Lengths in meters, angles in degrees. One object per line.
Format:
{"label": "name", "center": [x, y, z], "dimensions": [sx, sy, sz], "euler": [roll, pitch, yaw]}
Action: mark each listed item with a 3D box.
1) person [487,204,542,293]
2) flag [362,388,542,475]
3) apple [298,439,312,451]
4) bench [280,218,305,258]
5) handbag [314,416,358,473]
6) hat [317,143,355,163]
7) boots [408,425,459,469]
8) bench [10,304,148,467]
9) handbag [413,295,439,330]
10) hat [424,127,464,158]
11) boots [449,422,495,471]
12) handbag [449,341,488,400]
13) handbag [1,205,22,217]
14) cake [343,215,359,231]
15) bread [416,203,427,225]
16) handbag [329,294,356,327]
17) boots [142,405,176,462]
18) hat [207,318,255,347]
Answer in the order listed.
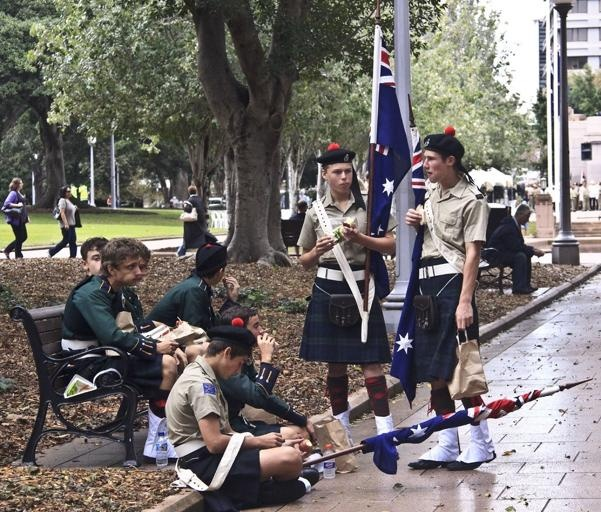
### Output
{"label": "person", "center": [3.805, -0.132, 18.394], "dimensions": [0.850, 1.594, 1.479], "euler": [-1, 3, 24]}
{"label": "flag", "center": [1.288, 1.499, 8.719], "dimensions": [1.381, 0.391, 0.284], "euler": [-20, -2, -1]}
{"label": "apple", "center": [0.031, 1.499, 8.218], "dimensions": [0.074, 0.101, 0.100], "euler": [12, 53, 27]}
{"label": "bench", "center": [-0.247, -0.491, 23.986], "dimensions": [0.617, 0.919, 0.668], "euler": [0, 6, 2]}
{"label": "handbag", "center": [0.278, 1.569, 8.535], "dimensions": [0.258, 0.384, 0.219], "euler": [-29, -1, 18]}
{"label": "hat", "center": [0.282, -0.839, 8.636], "dimensions": [0.219, 0.133, 0.203], "euler": [-11, 3, 44]}
{"label": "boots", "center": [1.198, 1.594, 8.635], "dimensions": [0.560, 0.413, 0.209], "euler": [-8, -2, 10]}
{"label": "bench", "center": [-1.885, 1.060, 8.985], "dimensions": [1.006, 1.348, 2.118], "euler": [0, -1, -4]}
{"label": "handbag", "center": [1.028, 0.455, 8.439], "dimensions": [0.103, 0.333, 0.228], "euler": [9, -14, -41]}
{"label": "hat", "center": [1.181, -0.911, 8.502], "dimensions": [0.219, 0.236, 0.307], "euler": [21, 10, 12]}
{"label": "boots", "center": [1.400, 1.531, 8.423], "dimensions": [0.389, 0.401, 0.175], "euler": [-9, 1, -15]}
{"label": "handbag", "center": [1.320, 0.895, 8.209], "dimensions": [0.270, 0.446, 0.159], "euler": [-3, 2, -16]}
{"label": "handbag", "center": [-6.559, -1.008, 23.328], "dimensions": [0.295, 0.271, 0.589], "euler": [-1, 3, 22]}
{"label": "cake", "center": [0.415, -0.284, 8.500], "dimensions": [0.088, 0.119, 0.119], "euler": [1, -3, -4]}
{"label": "bread", "center": [1.004, -0.347, 8.614], "dimensions": [0.042, 0.136, 0.131], "euler": [3, 13, -10]}
{"label": "handbag", "center": [0.352, 0.447, 8.615], "dimensions": [0.251, 0.303, 0.068], "euler": [0, -3, 5]}
{"label": "boots", "center": [-1.250, 1.488, 8.784], "dimensions": [0.190, 0.421, 0.437], "euler": [17, 8, -13]}
{"label": "hat", "center": [-0.538, 0.591, 7.895], "dimensions": [0.262, 0.106, 0.232], "euler": [22, 1, 36]}
